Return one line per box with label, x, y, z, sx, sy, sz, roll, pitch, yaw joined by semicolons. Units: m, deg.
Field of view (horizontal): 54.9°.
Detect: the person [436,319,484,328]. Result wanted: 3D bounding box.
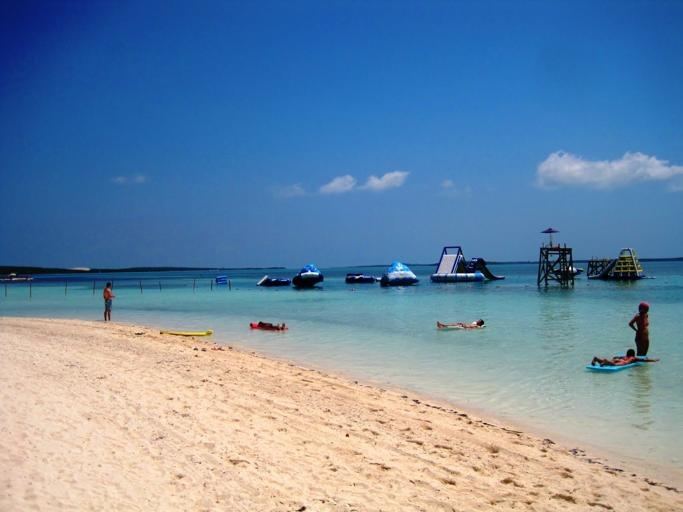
person;5.401;3.131;29.609;1.803;0.444;0.909;-6;-4;14
